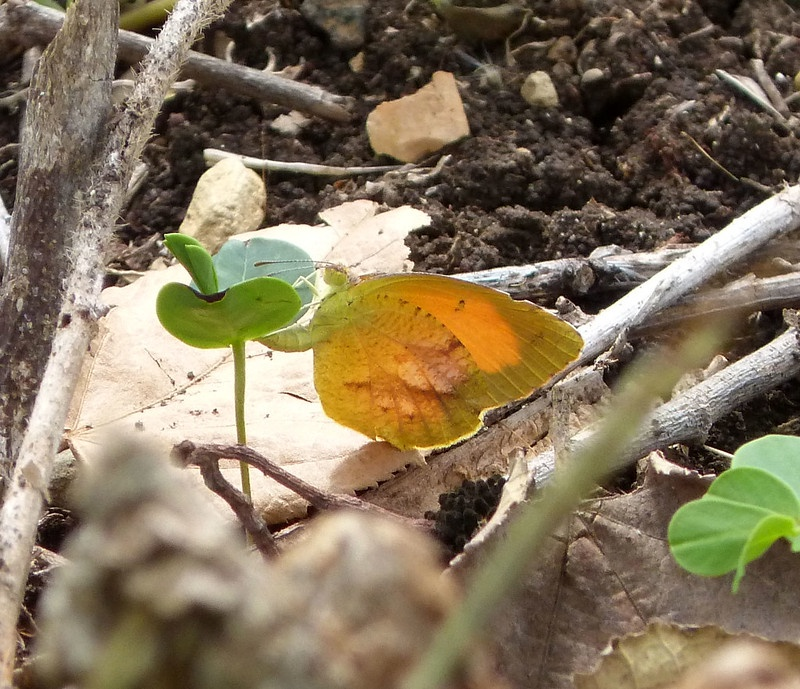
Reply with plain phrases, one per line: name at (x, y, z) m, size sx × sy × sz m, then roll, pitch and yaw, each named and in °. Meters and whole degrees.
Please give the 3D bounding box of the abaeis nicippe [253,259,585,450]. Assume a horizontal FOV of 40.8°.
abaeis nicippe at (0.040, 0.001, 1.898) m, size 0.348 × 0.457 × 0.188 m, roll 41°, pitch 58°, yaw -26°
